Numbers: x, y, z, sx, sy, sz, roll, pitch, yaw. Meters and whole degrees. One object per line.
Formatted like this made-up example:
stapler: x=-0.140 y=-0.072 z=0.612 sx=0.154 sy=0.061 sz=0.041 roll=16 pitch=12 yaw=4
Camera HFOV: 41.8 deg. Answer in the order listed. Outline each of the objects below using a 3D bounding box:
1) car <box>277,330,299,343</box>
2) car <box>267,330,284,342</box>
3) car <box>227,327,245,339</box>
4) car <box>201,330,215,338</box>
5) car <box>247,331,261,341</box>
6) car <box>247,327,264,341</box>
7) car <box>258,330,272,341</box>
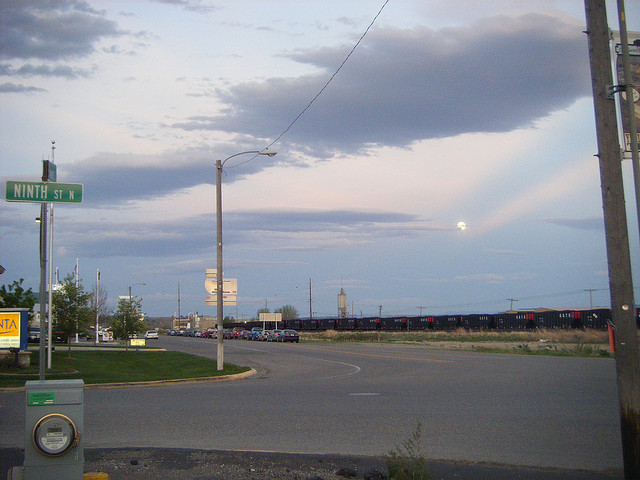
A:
car: x=-2.853 y=8.458 z=73.804 sx=1.105 sy=0.828 sz=2.488 roll=1 pitch=-2 yaw=-7
car: x=-4.139 y=8.766 z=76.810 sx=0.937 sy=0.765 sz=1.566 roll=2 pitch=-7 yaw=-12
car: x=-9.687 y=10.478 z=94.843 sx=1.035 sy=0.835 sz=1.695 roll=1 pitch=1 yaw=-26
car: x=-14.143 y=11.983 z=107.263 sx=1.550 sy=0.786 sz=2.527 roll=2 pitch=-2 yaw=-18
car: x=-7.050 y=10.199 z=89.983 sx=0.826 sy=0.738 sz=1.612 roll=2 pitch=-8 yaw=-23
car: x=-6.828 y=10.084 z=90.724 sx=1.035 sy=0.969 sz=2.251 roll=2 pitch=-3 yaw=-19
car: x=-5.283 y=9.423 z=82.479 sx=1.194 sy=0.634 sz=2.106 roll=-2 pitch=-2 yaw=-13
